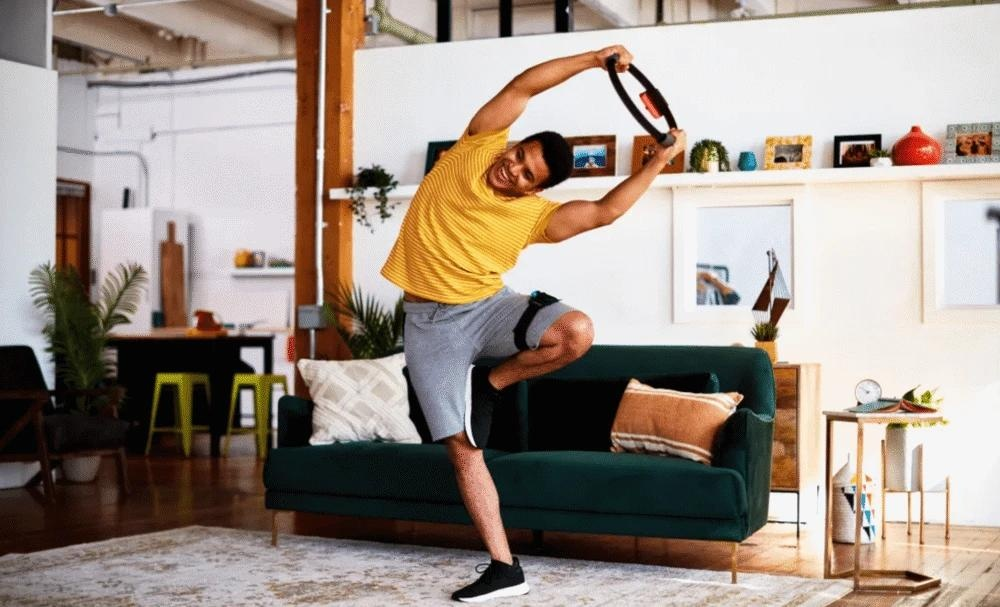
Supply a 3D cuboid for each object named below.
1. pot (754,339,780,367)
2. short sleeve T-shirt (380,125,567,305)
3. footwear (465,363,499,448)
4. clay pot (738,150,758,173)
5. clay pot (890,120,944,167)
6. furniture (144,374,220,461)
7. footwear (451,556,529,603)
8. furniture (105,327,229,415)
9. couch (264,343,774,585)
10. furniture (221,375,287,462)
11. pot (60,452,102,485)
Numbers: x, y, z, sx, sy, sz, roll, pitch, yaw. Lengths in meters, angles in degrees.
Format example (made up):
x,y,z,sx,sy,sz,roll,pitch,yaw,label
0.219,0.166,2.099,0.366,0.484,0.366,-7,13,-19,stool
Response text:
x,y,z,sx,sy,sz,roll,pitch,yaw,label
1.974,0.353,6.846,0.213,0.197,0.219,0,2,0,pot
-0.169,-0.457,5.136,0.893,1.015,0.312,26,21,1,short sleeve T-shirt
-0.109,0.577,5.356,0.166,0.459,0.190,2,4,-32,footwear
1.900,-1.108,7.281,0.162,0.164,0.153,0,4,0,clay pot
3.082,-1.172,7.002,0.330,0.279,0.333,-1,2,0,clay pot
-3.348,1.149,10.007,0.777,0.766,0.737,1,-6,-15,furniture
-0.021,1.567,5.342,0.513,0.209,0.172,0,-7,-15,footwear
-3.475,0.680,10.009,1.016,0.714,0.997,0,1,3,furniture
0.072,0.987,6.458,3.158,1.361,1.394,0,-1,18,couch
-2.674,1.174,10.088,0.691,0.748,0.668,5,-6,-27,furniture
-3.647,1.500,8.296,0.415,0.327,0.445,1,-3,0,pot
